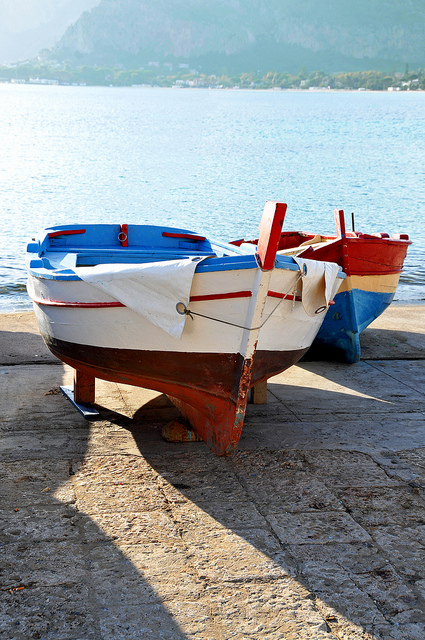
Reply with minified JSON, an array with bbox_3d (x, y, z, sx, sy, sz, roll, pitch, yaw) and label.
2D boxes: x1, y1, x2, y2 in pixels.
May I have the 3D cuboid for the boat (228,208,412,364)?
[{"bbox_3d":[1.359,-0.417,7.520,1.314,0.852,2.080,0,12,-5],"label":"boat"}]

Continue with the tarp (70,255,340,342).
[{"bbox_3d":[-0.298,-0.178,4.020,0.771,0.224,0.942,-2,10,-35],"label":"tarp"}]
